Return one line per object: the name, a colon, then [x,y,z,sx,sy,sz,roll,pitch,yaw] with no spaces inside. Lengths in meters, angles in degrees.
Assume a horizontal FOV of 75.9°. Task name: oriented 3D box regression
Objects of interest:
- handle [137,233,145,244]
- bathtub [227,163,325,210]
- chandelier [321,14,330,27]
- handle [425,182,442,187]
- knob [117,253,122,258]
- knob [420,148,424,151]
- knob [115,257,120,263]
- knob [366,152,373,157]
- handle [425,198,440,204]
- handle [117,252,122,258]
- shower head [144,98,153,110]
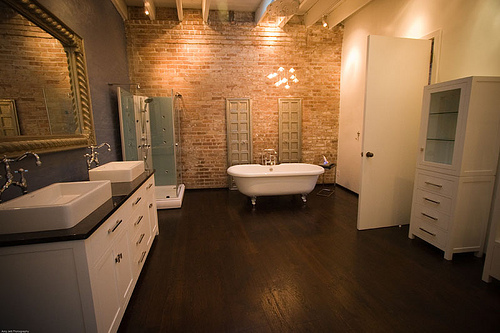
handle: [-1.406,0.920,4.126,0.029,0.174,0.035,22,-9,-2]
bathtub: [0.479,0.342,6.334,1.809,0.709,1.083,0,10,-4]
chandelier: [1.557,-3.022,6.653,0.127,0.261,0.448,3,11,14]
handle: [2.550,0.245,4.457,0.040,0.045,0.231,34,-8,-38]
knob: [-1.444,0.983,3.550,0.064,0.034,0.093,0,2,-14]
knob: [2.471,-0.252,4.614,0.048,0.038,0.011,8,14,37]
knob: [-1.450,1.017,3.508,0.052,0.028,0.076,-1,15,-11]
knob: [1.808,-0.187,4.855,0.101,0.075,0.028,-3,11,-15]
handle: [2.542,0.466,4.471,0.037,0.032,0.213,-3,11,-20]
handle: [-1.444,0.981,3.551,0.070,0.040,0.104,1,1,-22]
shower head: [-1.890,-1.171,5.968,0.162,0.206,0.097,-2,11,-10]
